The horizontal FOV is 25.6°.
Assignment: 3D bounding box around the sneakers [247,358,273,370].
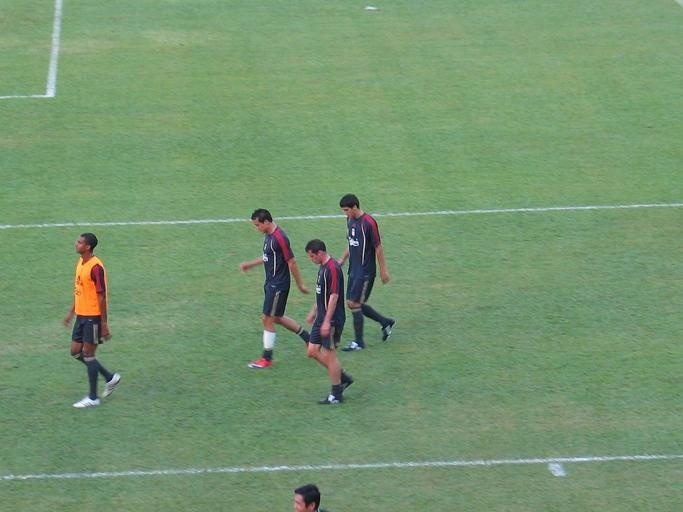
[{"bbox_3d":[-1.084,1.420,20.224,0.359,0.093,0.126,1,2,0],"label":"sneakers"}]
